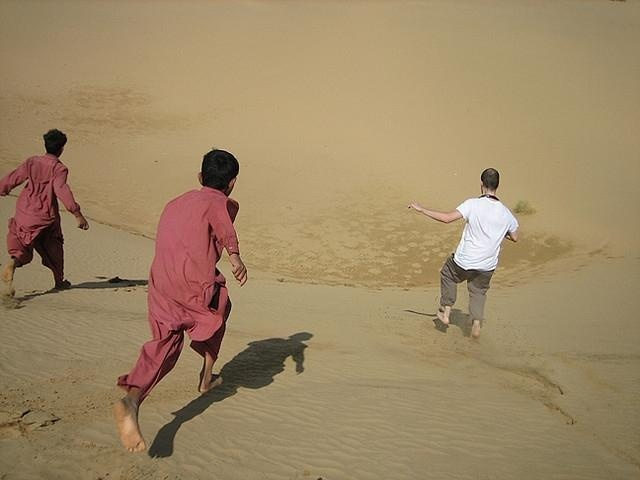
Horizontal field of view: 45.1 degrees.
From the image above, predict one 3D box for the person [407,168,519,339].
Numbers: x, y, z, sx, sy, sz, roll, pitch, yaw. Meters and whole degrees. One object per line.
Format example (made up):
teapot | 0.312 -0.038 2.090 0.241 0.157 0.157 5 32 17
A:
person | 2.932 0.261 14.851 1.497 3.336 0.988 11 2 -3
